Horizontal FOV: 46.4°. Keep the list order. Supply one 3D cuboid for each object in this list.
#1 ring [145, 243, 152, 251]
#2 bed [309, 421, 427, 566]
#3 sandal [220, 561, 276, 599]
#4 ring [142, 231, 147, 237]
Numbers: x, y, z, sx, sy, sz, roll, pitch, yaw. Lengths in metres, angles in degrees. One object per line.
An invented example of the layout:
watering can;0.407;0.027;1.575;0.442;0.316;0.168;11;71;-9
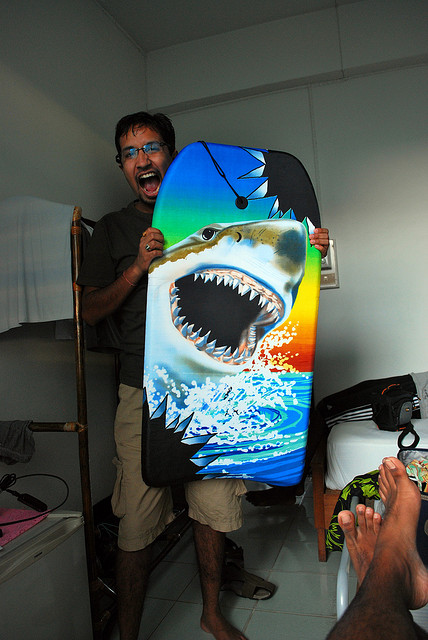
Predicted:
ring;-0.169;-0.190;1.297;0.013;0.018;0.005;-2;9;16
bed;0.494;0.548;1.593;0.358;0.404;0.662;0;5;21
sandal;0.119;0.955;1.853;0.226;0.086;0.084;-11;0;34
ring;-0.187;-0.234;1.349;0.011;0.007;0.025;-14;11;-7
